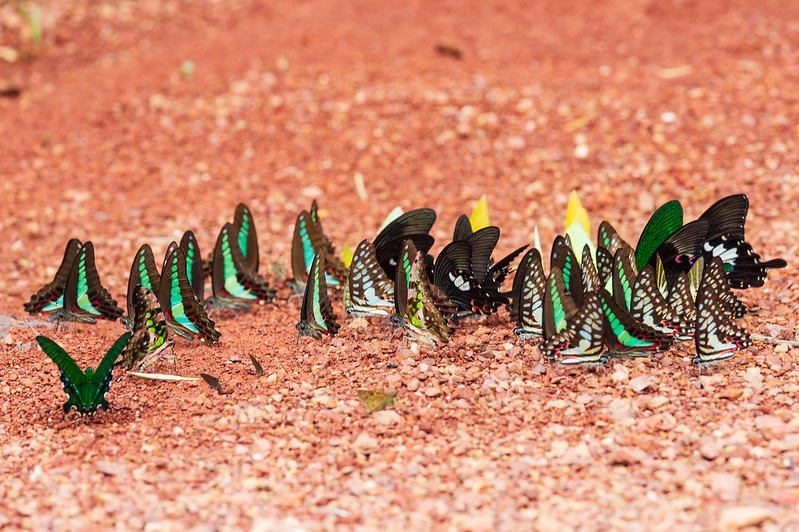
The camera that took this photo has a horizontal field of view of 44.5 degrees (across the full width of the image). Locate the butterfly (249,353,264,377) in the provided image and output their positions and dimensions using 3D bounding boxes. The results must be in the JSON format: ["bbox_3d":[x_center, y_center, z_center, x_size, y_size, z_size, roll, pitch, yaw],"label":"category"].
[{"bbox_3d":[-0.994,0.689,6.770,0.088,0.112,0.071,29,65,4],"label":"butterfly"}]

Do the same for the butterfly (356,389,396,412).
[{"bbox_3d":[-0.149,0.868,6.349,0.203,0.061,0.139,-17,49,-33],"label":"butterfly"}]
